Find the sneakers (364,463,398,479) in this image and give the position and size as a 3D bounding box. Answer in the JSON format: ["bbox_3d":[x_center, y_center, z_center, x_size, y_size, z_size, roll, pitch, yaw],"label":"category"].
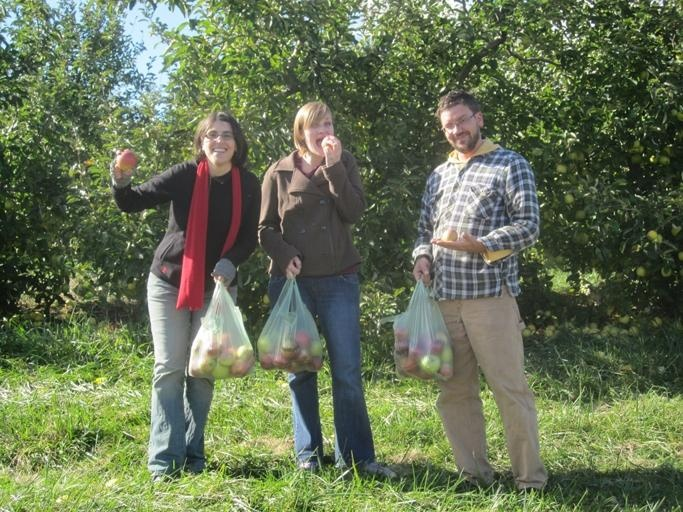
[{"bbox_3d":[0.279,1.599,5.096,0.281,0.142,0.099,-3,1,18],"label":"sneakers"}]

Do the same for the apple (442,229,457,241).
[{"bbox_3d":[0.762,-0.149,4.864,0.111,0.075,0.135,5,16,8],"label":"apple"}]

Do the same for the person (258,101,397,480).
[{"bbox_3d":[-0.126,0.209,5.178,0.611,2.624,1.192,-11,19,-42],"label":"person"}]

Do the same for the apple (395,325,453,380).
[{"bbox_3d":[0.578,0.751,5.035,0.408,0.214,0.317,25,36,38],"label":"apple"}]

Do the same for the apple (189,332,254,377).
[{"bbox_3d":[-0.848,0.699,4.896,0.346,0.236,0.301,2,7,-2],"label":"apple"}]

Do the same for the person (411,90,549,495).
[{"bbox_3d":[1.043,0.258,5.001,1.185,2.776,0.745,8,15,21],"label":"person"}]

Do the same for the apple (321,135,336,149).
[{"bbox_3d":[-0.096,-0.832,5.024,0.098,0.080,0.085,3,15,0],"label":"apple"}]

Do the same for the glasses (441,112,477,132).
[{"bbox_3d":[0.856,-0.978,5.074,0.155,0.156,0.191,-3,4,1],"label":"glasses"}]

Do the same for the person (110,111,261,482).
[{"bbox_3d":[-1.076,0.249,5.101,1.041,2.533,0.851,-3,15,-23],"label":"person"}]
